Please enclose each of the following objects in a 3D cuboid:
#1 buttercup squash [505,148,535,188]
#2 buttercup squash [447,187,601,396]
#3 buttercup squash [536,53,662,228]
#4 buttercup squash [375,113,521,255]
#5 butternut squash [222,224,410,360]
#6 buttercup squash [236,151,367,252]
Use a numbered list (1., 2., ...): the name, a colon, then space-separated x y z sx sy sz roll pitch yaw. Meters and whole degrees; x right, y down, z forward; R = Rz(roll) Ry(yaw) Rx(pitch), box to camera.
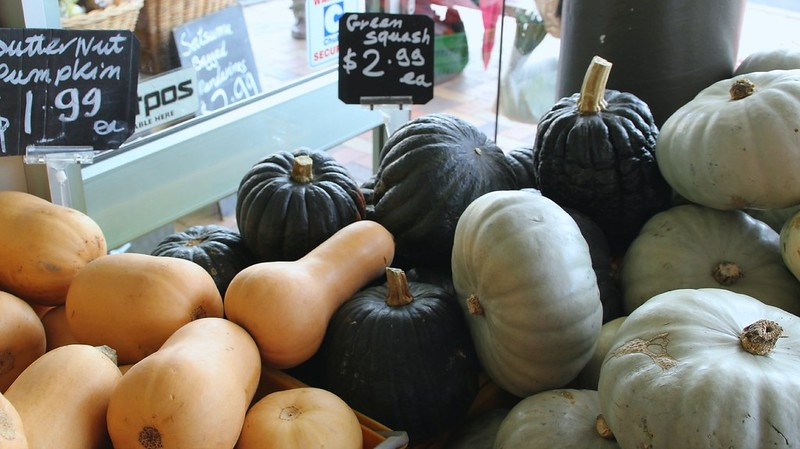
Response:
1. buttercup squash: 0.457 -0.206 2.354 0.112 0.134 0.116 -15 -25 18
2. buttercup squash: 0.389 0.223 1.933 0.423 0.586 0.245 1 20 7
3. buttercup squash: 0.710 -0.236 2.217 0.284 0.721 0.366 3 3 29
4. buttercup squash: 0.208 -0.160 2.374 0.468 0.496 0.498 0 7 11
5. butternut squash: -0.247 0.185 2.085 0.625 0.298 0.273 -35 54 -22
6. buttercup squash: -0.351 -0.114 2.325 0.386 0.353 0.390 6 11 23
